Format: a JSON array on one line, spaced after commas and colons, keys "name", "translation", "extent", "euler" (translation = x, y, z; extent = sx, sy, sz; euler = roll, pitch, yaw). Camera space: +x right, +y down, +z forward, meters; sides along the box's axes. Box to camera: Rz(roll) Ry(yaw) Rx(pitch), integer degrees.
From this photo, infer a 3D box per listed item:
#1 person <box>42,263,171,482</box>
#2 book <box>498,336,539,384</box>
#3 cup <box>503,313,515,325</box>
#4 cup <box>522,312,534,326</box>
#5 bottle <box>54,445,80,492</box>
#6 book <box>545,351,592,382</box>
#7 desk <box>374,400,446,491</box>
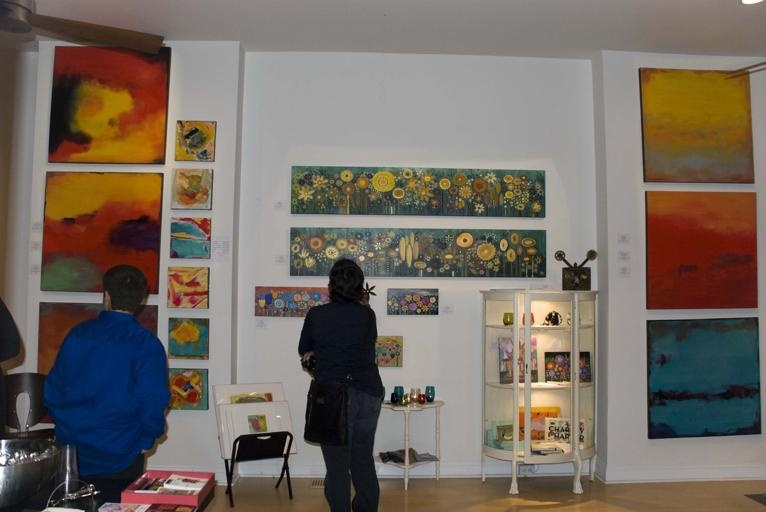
[{"name": "person", "translation": [-2.226, 0.934, 6.445], "extent": [0.966, 1.716, 0.261], "euler": [-1, -4, 3]}, {"name": "book", "translation": [1.427, 1.102, 8.407], "extent": [0.425, 0.500, 0.144], "euler": [-1, -4, 7]}, {"name": "cup", "translation": [1.327, 0.672, 8.425], "extent": [0.116, 0.131, 0.122], "euler": [2, 0, 0]}, {"name": "cup", "translation": [1.539, 0.666, 8.388], "extent": [0.162, 0.143, 0.062], "euler": [3, -5, -34]}, {"name": "bottle", "translation": [-2.346, 1.585, 5.888], "extent": [0.137, 0.351, 0.045], "euler": [1, -5, -22]}, {"name": "book", "translation": [1.942, 1.179, 8.447], "extent": [0.334, 0.246, 0.014], "euler": [1, -7, 0]}, {"name": "desk", "translation": [0.370, 2.024, 8.676], "extent": [0.643, 0.645, 0.611], "euler": [2, -16, -38]}]
